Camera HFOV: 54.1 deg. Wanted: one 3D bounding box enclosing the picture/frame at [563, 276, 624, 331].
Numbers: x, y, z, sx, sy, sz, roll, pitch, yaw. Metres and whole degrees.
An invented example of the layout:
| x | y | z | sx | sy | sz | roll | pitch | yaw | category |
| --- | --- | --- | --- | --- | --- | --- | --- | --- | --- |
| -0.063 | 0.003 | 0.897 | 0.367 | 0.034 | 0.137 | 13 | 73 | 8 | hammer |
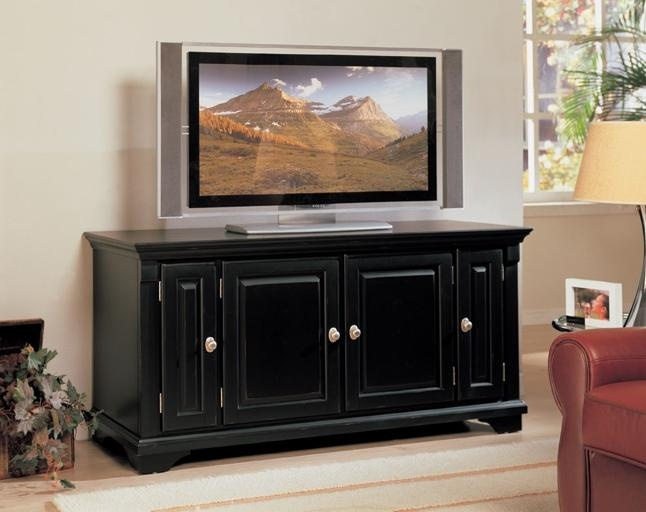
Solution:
| x | y | z | sx | sy | sz | roll | pitch | yaw | category |
| --- | --- | --- | --- | --- | --- | --- | --- | --- | --- |
| 1.085 | 0.203 | 2.577 | 0.288 | 0.200 | 0.040 | 5 | -3 | -23 | picture/frame |

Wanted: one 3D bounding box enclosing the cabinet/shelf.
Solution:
| x | y | z | sx | sy | sz | roll | pitch | yaw | category |
| --- | --- | --- | --- | --- | --- | --- | --- | --- | --- |
| 0.128 | 0.447 | 2.922 | 1.993 | 0.944 | 0.686 | -8 | -17 | 33 | cabinet/shelf |

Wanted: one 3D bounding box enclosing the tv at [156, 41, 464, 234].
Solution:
| x | y | z | sx | sy | sz | roll | pitch | yaw | category |
| --- | --- | --- | --- | --- | --- | --- | --- | --- | --- |
| -0.051 | -0.578 | 2.882 | 1.387 | 0.753 | 0.218 | -2 | 7 | -12 | tv |
